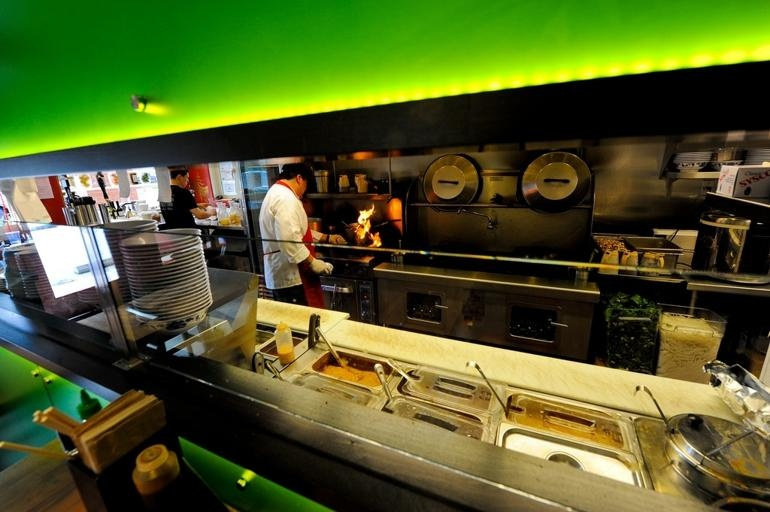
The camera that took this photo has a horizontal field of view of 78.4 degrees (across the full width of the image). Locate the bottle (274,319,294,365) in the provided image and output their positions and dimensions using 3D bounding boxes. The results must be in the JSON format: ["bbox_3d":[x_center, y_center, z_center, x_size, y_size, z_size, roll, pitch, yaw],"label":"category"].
[{"bbox_3d":[-0.526,0.458,2.526,0.098,0.217,0.194,1,-3,16],"label":"bottle"}]

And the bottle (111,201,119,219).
[{"bbox_3d":[-3.857,-0.661,6.737,0.111,0.253,0.512,3,-3,-30],"label":"bottle"}]

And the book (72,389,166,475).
[{"bbox_3d":[-1.174,0.789,2.106,0.243,0.108,0.337,45,51,13],"label":"book"}]

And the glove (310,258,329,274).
[{"bbox_3d":[-0.391,0.059,2.865,0.126,0.086,0.130,2,-3,-8],"label":"glove"}]

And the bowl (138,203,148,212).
[{"bbox_3d":[-3.692,-0.737,7.196,0.144,0.093,0.117,-9,18,-33],"label":"bowl"}]

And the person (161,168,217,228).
[{"bbox_3d":[-2.427,-0.690,5.743,0.481,0.758,1.073,3,-3,-18],"label":"person"}]

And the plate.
[{"bbox_3d":[-1.468,0.048,2.583,1.132,0.511,0.481,5,17,14],"label":"plate"}]
